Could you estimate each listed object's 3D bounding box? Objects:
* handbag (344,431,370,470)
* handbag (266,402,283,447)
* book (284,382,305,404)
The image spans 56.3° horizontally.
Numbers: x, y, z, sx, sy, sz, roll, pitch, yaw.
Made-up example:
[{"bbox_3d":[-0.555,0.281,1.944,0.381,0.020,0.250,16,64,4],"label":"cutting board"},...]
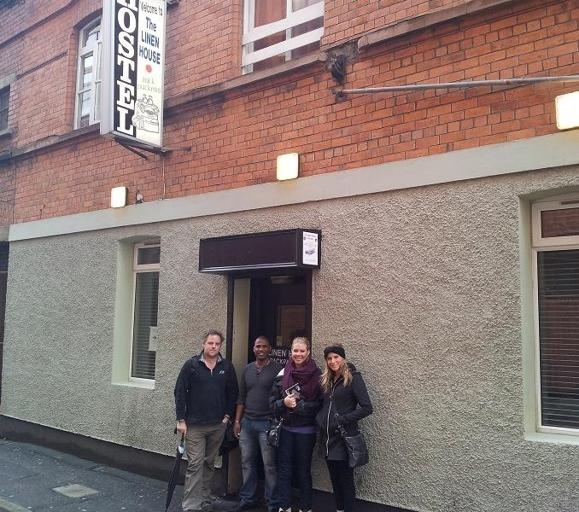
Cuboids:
[{"bbox_3d":[0.642,1.859,5.182,0.219,0.305,0.154,4,-4,-29],"label":"handbag"},{"bbox_3d":[-0.165,1.823,5.652,0.098,0.286,0.213,20,-21,-24],"label":"handbag"},{"bbox_3d":[0.047,1.397,5.571,0.177,0.183,0.083,2,-4,0],"label":"book"}]
